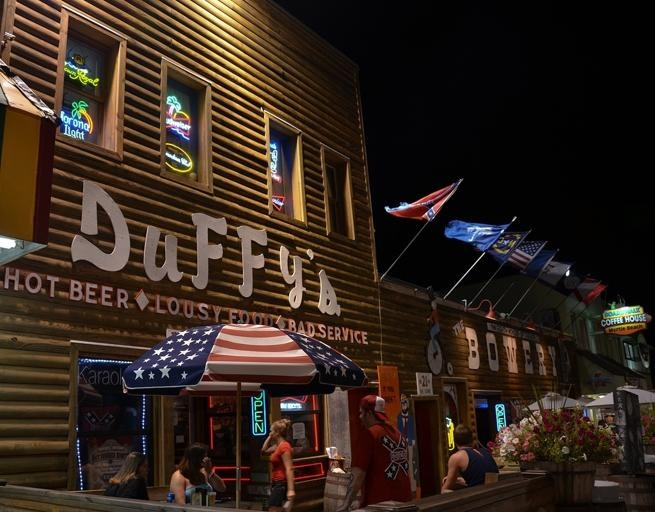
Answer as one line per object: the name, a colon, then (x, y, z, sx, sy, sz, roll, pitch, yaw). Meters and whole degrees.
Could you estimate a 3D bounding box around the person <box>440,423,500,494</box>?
person: (1.893, 3.018, 7.765, 0.560, 1.344, 0.687, 1, -3, -29)

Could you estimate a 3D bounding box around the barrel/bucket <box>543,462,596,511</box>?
barrel/bucket: (2.529, 2.354, 6.028, 0.435, 0.365, 0.422, -2, -9, 0)

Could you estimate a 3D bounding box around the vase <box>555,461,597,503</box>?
vase: (2.559, 2.363, 6.053, 0.351, 0.330, 0.420, 3, -22, -4)

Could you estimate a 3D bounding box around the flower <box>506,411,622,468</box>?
flower: (2.571, 2.151, 6.523, 1.207, 0.733, 1.191, -12, -13, 25)
